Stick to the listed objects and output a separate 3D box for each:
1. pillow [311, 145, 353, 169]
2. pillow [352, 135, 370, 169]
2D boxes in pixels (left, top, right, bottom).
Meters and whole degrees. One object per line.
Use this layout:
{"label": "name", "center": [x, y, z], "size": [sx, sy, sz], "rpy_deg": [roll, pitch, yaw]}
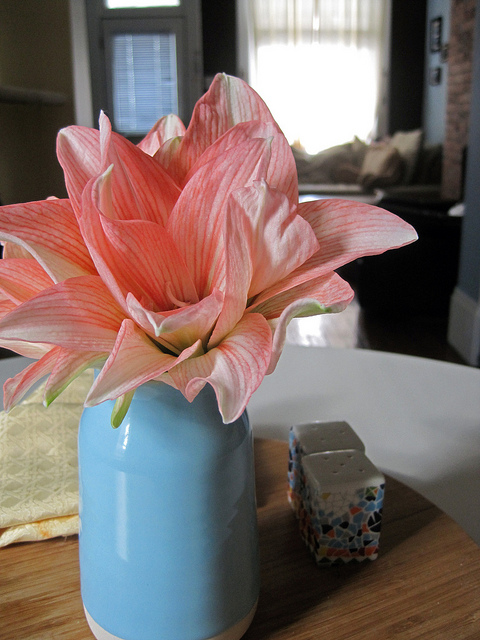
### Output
{"label": "pillow", "center": [0.569, -1.020, 3.486], "size": [0.189, 0.052, 0.188], "rpy_deg": [9, 55, 42]}
{"label": "pillow", "center": [0.753, -1.042, 3.429], "size": [0.045, 0.142, 0.193], "rpy_deg": [15, 58, -11]}
